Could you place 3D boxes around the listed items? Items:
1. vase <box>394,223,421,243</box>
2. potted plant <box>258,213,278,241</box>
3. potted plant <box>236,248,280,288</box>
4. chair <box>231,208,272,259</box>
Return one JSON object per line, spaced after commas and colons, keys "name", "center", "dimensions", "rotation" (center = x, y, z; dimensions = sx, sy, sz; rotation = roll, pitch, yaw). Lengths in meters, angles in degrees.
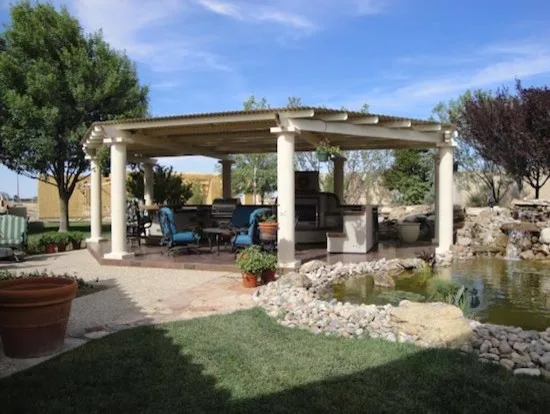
{"name": "vase", "center": [4.879, 0.978, 15.493], "dimensions": [0.767, 0.539, 0.748], "rotation": [1, -5, -8]}
{"name": "potted plant", "center": [-0.207, 0.500, 10.241], "dimensions": [0.630, 0.636, 0.615], "rotation": [1, -3, -14]}
{"name": "potted plant", "center": [-0.355, 1.215, 8.613], "dimensions": [0.873, 0.743, 0.792], "rotation": [2, -5, -8]}
{"name": "chair", "center": [-0.509, 0.647, 11.116], "dimensions": [1.284, 1.608, 1.127], "rotation": [1, 1, 15]}
